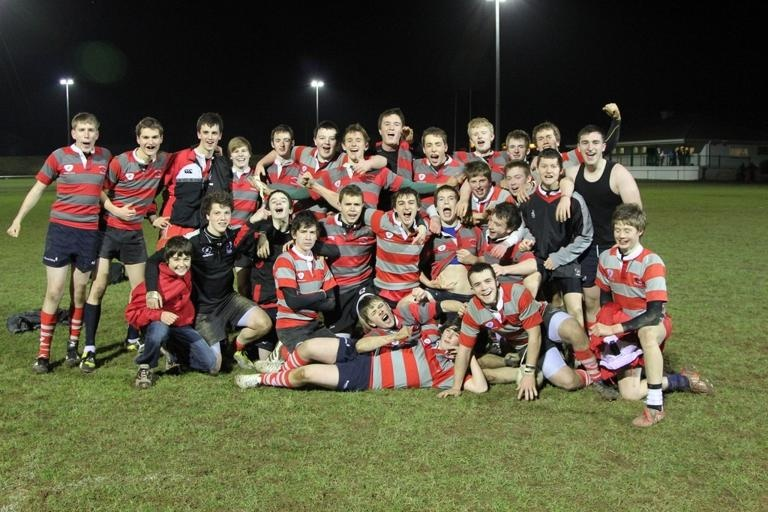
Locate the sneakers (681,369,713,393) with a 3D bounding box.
[{"bbox_3d":[3.324,1.328,6.054,0.307,0.212,0.169,3,5,26],"label":"sneakers"}]

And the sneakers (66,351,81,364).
[{"bbox_3d":[-3.674,1.199,6.734,0.149,0.154,0.158,-2,5,-32],"label":"sneakers"}]

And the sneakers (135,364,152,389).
[{"bbox_3d":[-2.636,1.323,6.282,0.165,0.219,0.185,-1,4,-12],"label":"sneakers"}]

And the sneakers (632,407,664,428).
[{"bbox_3d":[2.584,1.580,5.595,0.285,0.125,0.153,-10,-5,-21],"label":"sneakers"}]

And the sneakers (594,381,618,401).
[{"bbox_3d":[2.367,1.432,6.087,0.269,0.146,0.212,3,5,25],"label":"sneakers"}]
